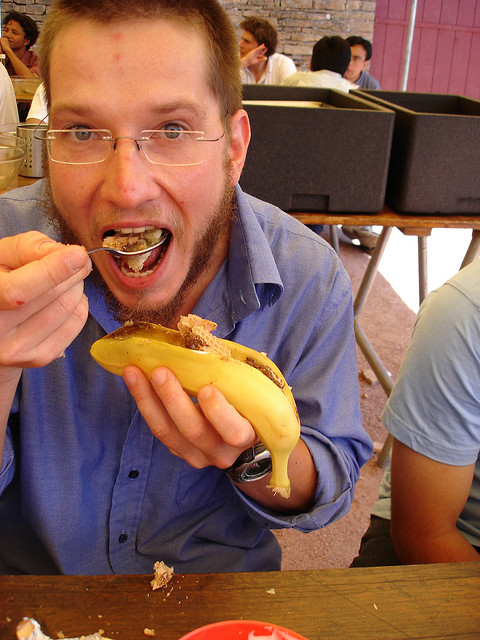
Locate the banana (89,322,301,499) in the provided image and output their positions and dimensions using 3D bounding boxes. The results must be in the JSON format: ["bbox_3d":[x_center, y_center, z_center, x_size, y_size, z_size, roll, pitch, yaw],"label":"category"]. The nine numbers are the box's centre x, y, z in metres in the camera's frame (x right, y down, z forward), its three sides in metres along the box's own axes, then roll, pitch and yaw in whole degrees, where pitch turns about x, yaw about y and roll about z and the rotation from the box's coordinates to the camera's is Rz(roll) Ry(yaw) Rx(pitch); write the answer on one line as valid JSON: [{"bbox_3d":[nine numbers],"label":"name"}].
[{"bbox_3d":[-0.068,0.111,0.947,0.407,0.179,0.138,18,27,21],"label":"banana"}]

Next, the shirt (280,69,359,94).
[{"bbox_3d":[0.635,-1.943,4.689,0.491,0.143,0.631,9,24,3],"label":"shirt"}]
